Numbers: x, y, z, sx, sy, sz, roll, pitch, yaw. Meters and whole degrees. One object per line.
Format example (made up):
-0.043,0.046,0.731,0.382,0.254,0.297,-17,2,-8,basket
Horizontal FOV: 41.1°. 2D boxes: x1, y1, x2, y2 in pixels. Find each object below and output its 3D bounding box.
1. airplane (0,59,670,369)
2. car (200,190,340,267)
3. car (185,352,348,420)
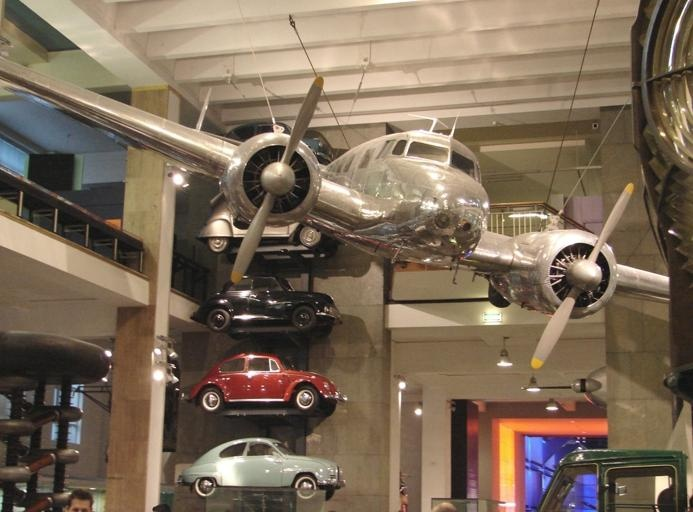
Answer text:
0.527,-0.483,14.489,10.397,3.964,2.148,8,-18,-17,airplane
-1.703,-0.646,20.320,2.670,0.992,1.579,2,-4,-2,car
-1.492,2.729,19.963,4.106,1.198,1.398,-6,-11,34,car
